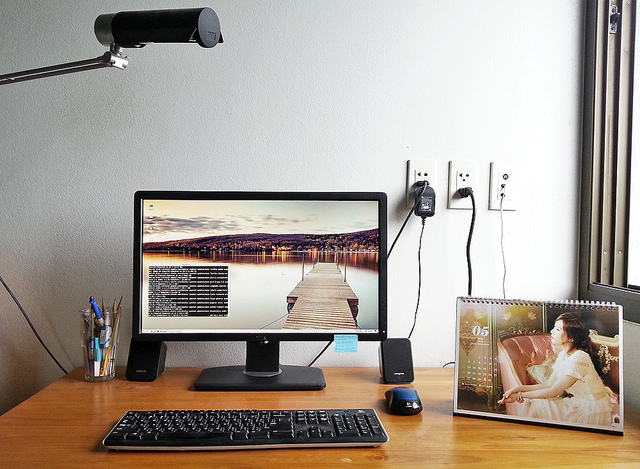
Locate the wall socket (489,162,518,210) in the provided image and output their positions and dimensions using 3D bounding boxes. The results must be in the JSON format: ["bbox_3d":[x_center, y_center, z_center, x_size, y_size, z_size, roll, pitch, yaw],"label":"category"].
[{"bbox_3d":[0.623,-0.163,1.781,0.099,0.160,0.016,1,6,-12],"label":"wall socket"}]

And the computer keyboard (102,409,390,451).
[{"bbox_3d":[-0.182,0.496,1.322,0.691,0.050,0.114,0,14,-2],"label":"computer keyboard"}]

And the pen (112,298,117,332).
[{"bbox_3d":[-0.645,0.250,1.625,0.010,0.091,0.010,8,-7,-15],"label":"pen"}]

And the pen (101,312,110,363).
[{"bbox_3d":[-0.650,0.321,1.599,0.032,0.116,0.024,2,1,10],"label":"pen"}]

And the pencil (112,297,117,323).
[{"bbox_3d":[-0.644,0.239,1.628,0.010,0.092,0.010,1,-12,-3],"label":"pencil"}]

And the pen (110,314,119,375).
[{"bbox_3d":[-0.629,0.360,1.615,0.021,0.145,0.020,5,-4,10],"label":"pen"}]

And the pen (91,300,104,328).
[{"bbox_3d":[-0.677,0.241,1.584,0.015,0.104,0.016,0,22,34],"label":"pen"}]

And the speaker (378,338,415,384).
[{"bbox_3d":[0.248,0.397,1.656,0.095,0.134,0.074,-3,2,6],"label":"speaker"}]

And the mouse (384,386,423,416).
[{"bbox_3d":[0.236,0.461,1.492,0.099,0.054,0.168,0,-1,0],"label":"mouse"}]

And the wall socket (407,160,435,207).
[{"bbox_3d":[0.341,-0.171,1.764,0.092,0.156,0.046,3,15,7],"label":"wall socket"}]
